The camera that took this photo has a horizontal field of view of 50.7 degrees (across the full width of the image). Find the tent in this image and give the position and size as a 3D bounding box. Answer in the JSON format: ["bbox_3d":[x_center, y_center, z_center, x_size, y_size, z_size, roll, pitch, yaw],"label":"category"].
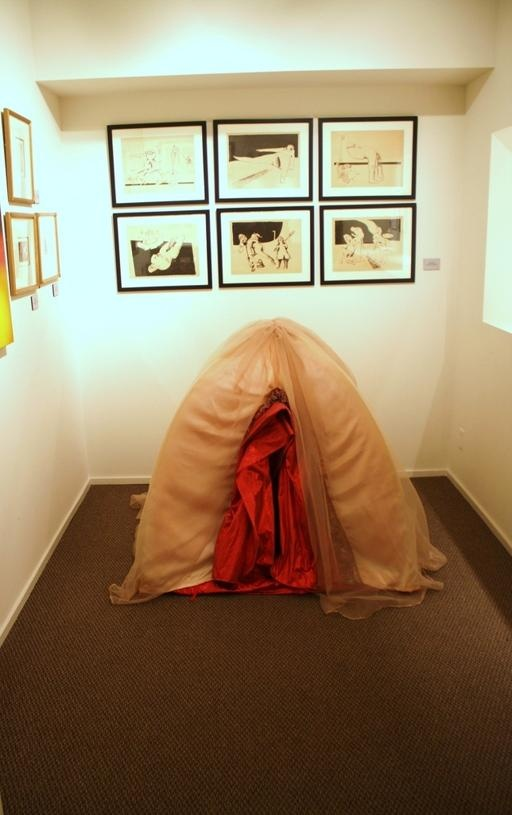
[{"bbox_3d":[0.090,0.232,2.714,1.472,1.257,1.132,0,16,1],"label":"tent"}]
